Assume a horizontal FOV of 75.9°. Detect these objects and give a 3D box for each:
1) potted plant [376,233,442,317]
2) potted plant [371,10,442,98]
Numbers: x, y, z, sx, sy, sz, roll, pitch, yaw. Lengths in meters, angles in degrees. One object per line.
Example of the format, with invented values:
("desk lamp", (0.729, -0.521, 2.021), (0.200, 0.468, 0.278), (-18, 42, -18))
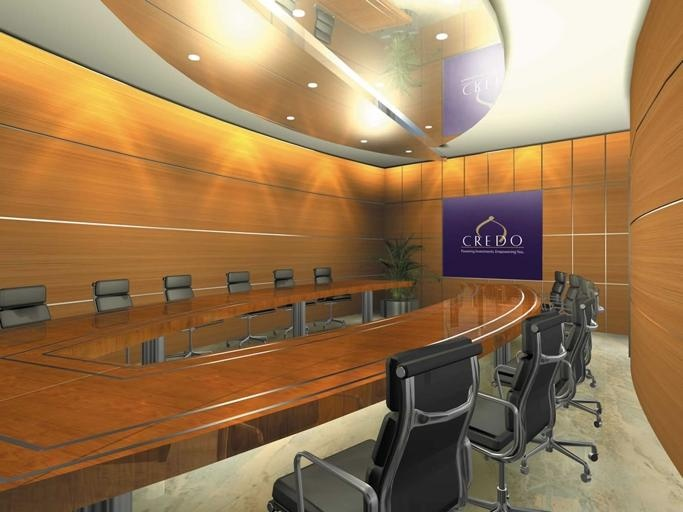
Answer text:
("potted plant", (1.375, 0.570, 10.001), (1.528, 1.424, 1.452), (1, -4, -1))
("potted plant", (0.526, -1.606, 3.539), (0.338, 0.369, 0.356), (4, 13, 31))
